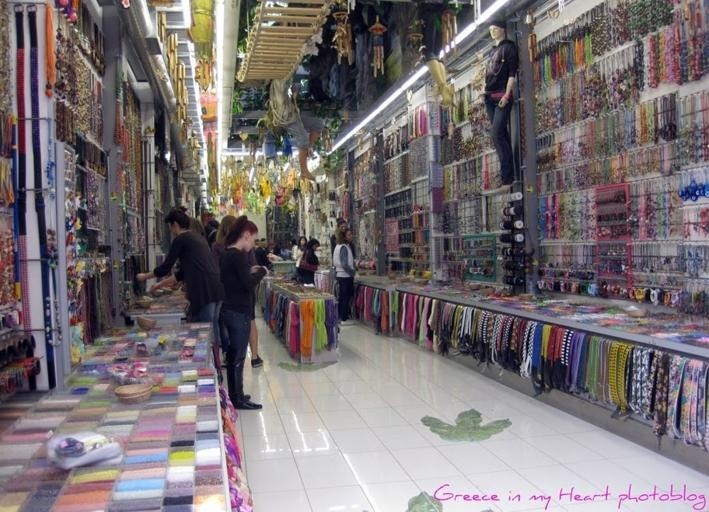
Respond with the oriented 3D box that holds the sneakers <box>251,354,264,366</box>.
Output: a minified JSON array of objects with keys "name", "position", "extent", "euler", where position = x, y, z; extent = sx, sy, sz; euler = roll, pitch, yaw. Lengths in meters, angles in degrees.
[{"name":"sneakers","position":[-1.342,1.463,6.958],"extent":[0.082,0.130,0.211],"euler":[1,3,11]}]

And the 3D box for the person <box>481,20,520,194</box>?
[{"name":"person","position":[1.850,-1.865,6.191],"extent":[0.411,1.969,0.458],"euler":[-1,3,11]}]

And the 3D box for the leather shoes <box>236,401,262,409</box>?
[{"name":"leather shoes","position":[-1.101,1.565,5.264],"extent":[0.272,0.117,0.100],"euler":[1,-5,-8]}]

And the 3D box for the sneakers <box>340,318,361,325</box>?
[{"name":"sneakers","position":[-0.055,1.337,10.333],"extent":[0.360,0.175,0.131],"euler":[-3,1,-16]}]

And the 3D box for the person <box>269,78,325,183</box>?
[{"name":"person","position":[-0.976,-2.071,8.032],"extent":[0.687,1.566,1.612],"euler":[-1,3,6]}]
